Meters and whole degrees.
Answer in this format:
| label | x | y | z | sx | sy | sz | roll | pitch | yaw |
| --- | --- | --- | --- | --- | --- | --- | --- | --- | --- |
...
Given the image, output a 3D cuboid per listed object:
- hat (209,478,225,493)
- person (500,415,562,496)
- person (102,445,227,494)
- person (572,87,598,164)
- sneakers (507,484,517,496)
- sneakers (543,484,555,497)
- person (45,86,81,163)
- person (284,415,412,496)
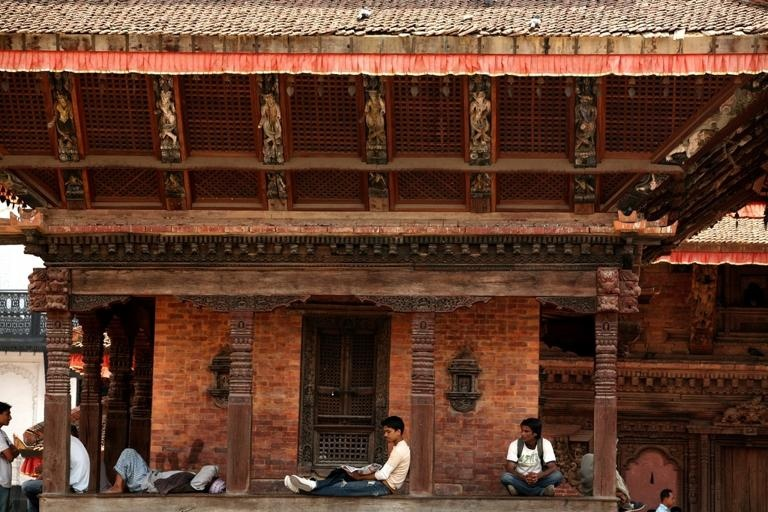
| label | x | y | z | sx | sy | sz | roll | pitch | yaw |
| --- | --- | --- | --- | --- | --- | --- | --- | --- | --- |
| hat | -2.939 | 4.080 | 32.634 | 0.280 | 0.219 | 0.195 | -9 | -19 | 11 |
| person | 2.520 | 3.502 | 32.282 | 1.027 | 1.374 | 0.692 | 0 | -15 | 4 |
| person | -3.829 | 3.844 | 32.803 | 1.887 | 0.603 | 0.847 | 1 | -16 | 5 |
| person | 3.505 | -2.296 | 32.495 | 0.383 | 1.381 | 0.761 | -1 | -15 | 6 |
| sneakers | 2.193 | 4.094 | 32.183 | 0.181 | 0.165 | 0.213 | 1 | -14 | -1 |
| sneakers | 2.808 | 4.078 | 32.080 | 0.248 | 0.118 | 0.367 | 1 | -1 | 4 |
| person | -5.653 | -2.377 | 32.787 | 0.476 | 1.345 | 0.787 | 0 | -15 | 3 |
| person | -0.592 | 3.606 | 32.411 | 2.454 | 1.194 | 0.890 | -6 | 3 | 21 |
